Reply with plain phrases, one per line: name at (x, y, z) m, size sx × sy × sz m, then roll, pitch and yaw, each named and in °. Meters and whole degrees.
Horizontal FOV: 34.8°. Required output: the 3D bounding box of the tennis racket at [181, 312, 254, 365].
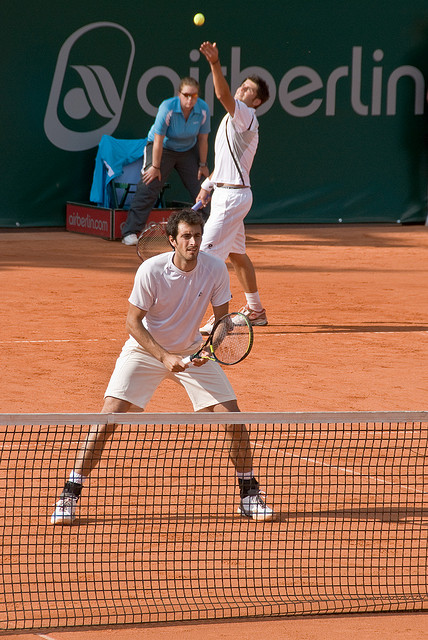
tennis racket at (0.011, 0.094, 3.037) m, size 0.301 × 0.247 × 0.179 m, roll 3°, pitch 8°, yaw -4°

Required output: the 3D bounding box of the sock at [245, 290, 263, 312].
sock at (0.392, -0.173, 6.717) m, size 0.154 × 0.211 × 0.340 m, roll 5°, pitch 8°, yaw 9°

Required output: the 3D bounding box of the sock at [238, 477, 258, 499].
sock at (0.142, 0.719, 2.958) m, size 0.109 × 0.134 × 0.079 m, roll 0°, pitch -7°, yaw -1°

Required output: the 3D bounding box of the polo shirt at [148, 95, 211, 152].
polo shirt at (-0.468, -2.781, 9.630) m, size 0.893 × 0.749 × 0.430 m, roll -8°, pitch 40°, yaw -23°

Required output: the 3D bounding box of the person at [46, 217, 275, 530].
person at (-0.182, 0.177, 3.065) m, size 0.967 × 1.259 × 1.379 m, roll 4°, pitch 8°, yaw 2°

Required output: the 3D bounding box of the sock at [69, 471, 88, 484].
sock at (-0.559, 0.648, 2.789) m, size 0.051 × 0.038 × 0.057 m, roll 34°, pitch -16°, yaw -26°

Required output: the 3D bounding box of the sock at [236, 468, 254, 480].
sock at (0.132, 0.672, 2.967) m, size 0.078 × 0.040 × 0.054 m, roll 3°, pitch 8°, yaw -2°

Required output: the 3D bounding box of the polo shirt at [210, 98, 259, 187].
polo shirt at (0.226, -1.518, 5.912) m, size 0.410 × 0.711 × 0.450 m, roll 1°, pitch 9°, yaw -18°

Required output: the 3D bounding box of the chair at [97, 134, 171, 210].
chair at (-1.398, -2.614, 12.704) m, size 1.416 × 1.377 × 1.304 m, roll 8°, pitch 20°, yaw 27°
